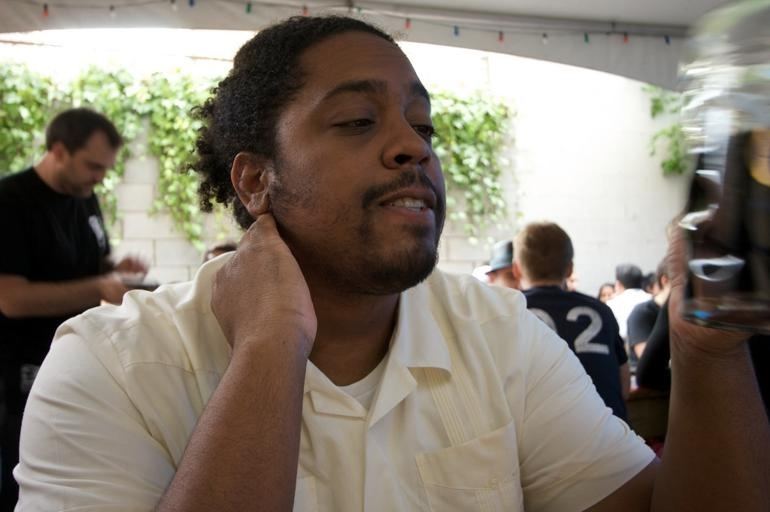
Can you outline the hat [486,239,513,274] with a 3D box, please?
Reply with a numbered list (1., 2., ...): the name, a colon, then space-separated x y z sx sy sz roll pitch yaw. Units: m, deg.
1. hat: 0.886 0.004 5.118 0.186 0.127 0.222 -8 -9 -24
